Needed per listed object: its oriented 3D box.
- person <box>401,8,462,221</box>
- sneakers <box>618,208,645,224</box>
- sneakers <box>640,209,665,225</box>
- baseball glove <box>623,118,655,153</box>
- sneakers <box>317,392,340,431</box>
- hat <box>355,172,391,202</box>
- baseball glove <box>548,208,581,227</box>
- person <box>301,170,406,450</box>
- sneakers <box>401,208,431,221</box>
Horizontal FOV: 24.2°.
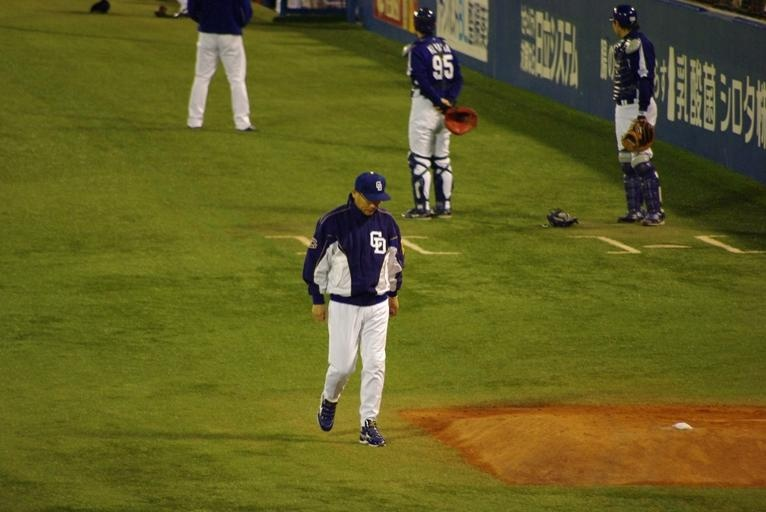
[{"bbox_3d":[0.643,-1.978,24.952,0.878,2.965,0.646,6,16,0],"label":"person"},{"bbox_3d":[3.484,-0.574,25.153,0.336,0.136,0.179,0,12,-1],"label":"sneakers"},{"bbox_3d":[3.769,-0.546,25.038,0.357,0.151,0.175,-3,5,-37],"label":"sneakers"},{"bbox_3d":[3.477,-1.694,24.493,0.442,0.396,0.235,-13,20,-35],"label":"baseball glove"},{"bbox_3d":[-0.621,1.719,19.492,0.163,0.432,0.194,2,-23,-28],"label":"sneakers"},{"bbox_3d":[-0.156,-0.753,19.229,0.394,0.212,0.284,33,36,34],"label":"hat"},{"bbox_3d":[2.489,-0.556,24.923,0.359,0.146,0.248,7,13,22],"label":"baseball glove"},{"bbox_3d":[-0.299,0.549,19.323,1.119,2.890,0.779,10,17,15],"label":"person"},{"bbox_3d":[0.463,-0.600,25.204,0.349,0.138,0.149,4,16,4],"label":"sneakers"}]
